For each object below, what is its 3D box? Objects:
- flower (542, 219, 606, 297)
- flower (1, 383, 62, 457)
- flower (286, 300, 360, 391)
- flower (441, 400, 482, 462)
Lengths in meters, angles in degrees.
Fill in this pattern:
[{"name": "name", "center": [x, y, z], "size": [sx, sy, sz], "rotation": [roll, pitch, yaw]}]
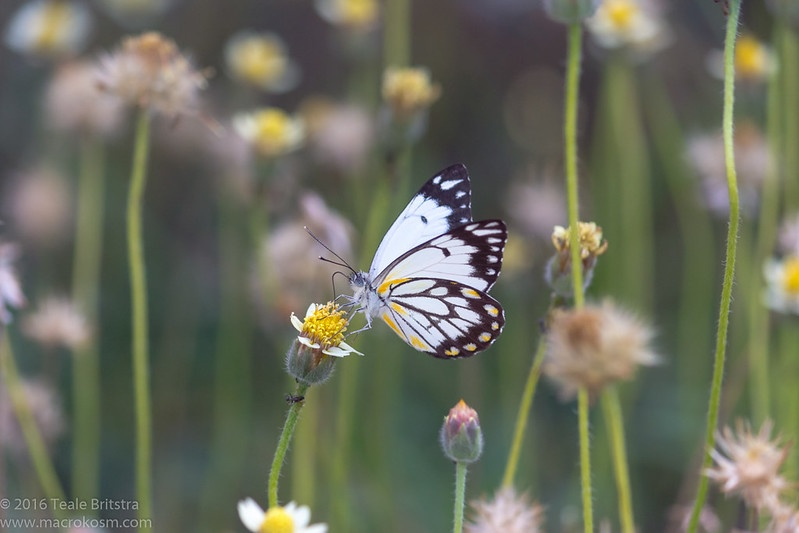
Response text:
[{"name": "flower", "center": [0.283, 0.007, 1.947], "size": [0.045, 0.068, 0.128], "rotation": [11, 59, -17]}, {"name": "flower", "center": [-0.631, 0.251, 1.993], "size": [0.107, 0.042, 0.117], "rotation": [-9, 74, -1]}, {"name": "flower", "center": [-0.135, 0.129, 1.999], "size": [0.117, 0.125, 0.129], "rotation": [11, 79, 35]}, {"name": "flower", "center": [0.104, 0.278, 1.907], "size": [0.078, 0.084, 0.127], "rotation": [3, 75, -5]}]
